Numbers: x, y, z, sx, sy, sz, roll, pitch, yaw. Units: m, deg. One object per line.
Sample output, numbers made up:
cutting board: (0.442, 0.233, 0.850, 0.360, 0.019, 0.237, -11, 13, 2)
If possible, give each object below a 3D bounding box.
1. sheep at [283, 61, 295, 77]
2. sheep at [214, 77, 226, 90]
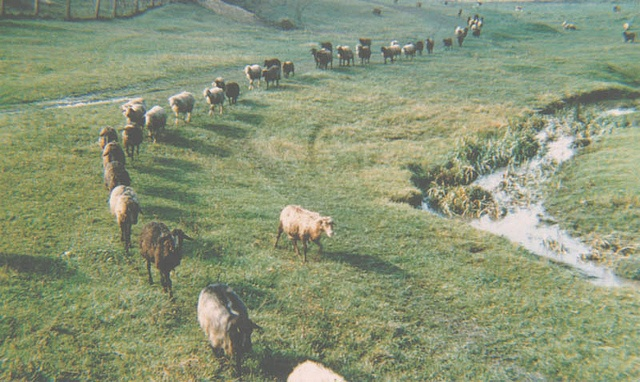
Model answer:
sheep: (-3.992, -15.389, 80.341, 1.505, 1.885, 1.484, -1, 24, -3)
sheep: (-11.400, -12.352, 72.192, 0.802, 1.080, 1.974, -3, 28, -27)
